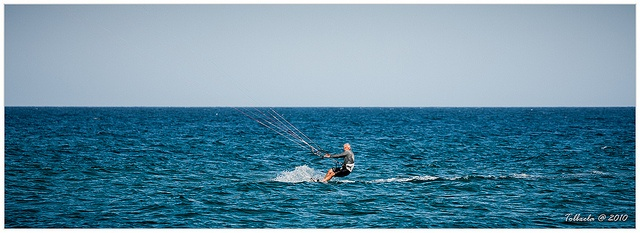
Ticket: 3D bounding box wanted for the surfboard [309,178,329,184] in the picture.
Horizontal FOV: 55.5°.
[{"bbox_3d":[-0.096,11.342,107.007,2.264,0.483,1.155,1,6,10],"label":"surfboard"}]
